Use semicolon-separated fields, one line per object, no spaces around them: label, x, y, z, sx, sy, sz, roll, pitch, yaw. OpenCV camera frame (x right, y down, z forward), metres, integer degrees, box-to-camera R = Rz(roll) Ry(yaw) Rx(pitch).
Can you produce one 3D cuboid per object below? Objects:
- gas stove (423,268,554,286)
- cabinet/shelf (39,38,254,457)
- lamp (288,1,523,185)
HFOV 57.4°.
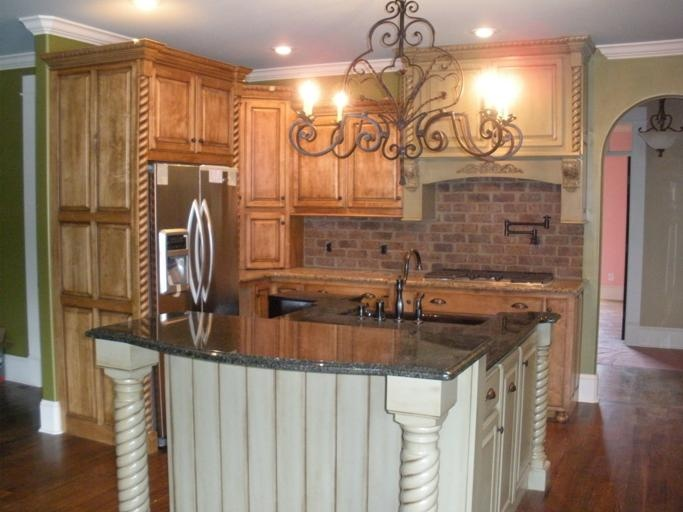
gas stove;1.352;0.187;5.768;1.162;0.052;0.722;3;8;20
cabinet/shelf;-1.644;-0.102;5.069;1.375;3.078;0.816;-4;9;-25
lamp;0.576;-1.314;4.946;1.399;1.431;1.251;-5;9;-44
